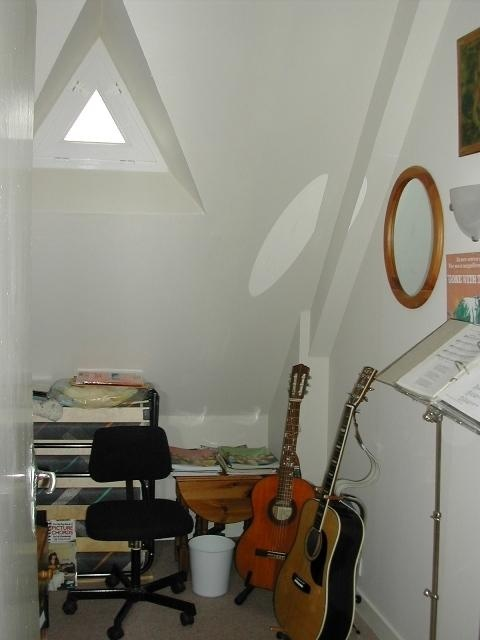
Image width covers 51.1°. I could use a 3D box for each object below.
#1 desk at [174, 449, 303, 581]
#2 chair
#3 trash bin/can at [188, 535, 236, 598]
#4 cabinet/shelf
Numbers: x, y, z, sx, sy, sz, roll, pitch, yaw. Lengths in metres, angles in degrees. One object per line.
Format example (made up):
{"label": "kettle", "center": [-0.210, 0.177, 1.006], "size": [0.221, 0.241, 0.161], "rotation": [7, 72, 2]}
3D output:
{"label": "desk", "center": [-0.016, 0.974, 2.506], "size": [0.649, 0.714, 0.269], "rotation": [1, -6, -13]}
{"label": "chair", "center": [-0.495, 0.937, 2.529], "size": [0.656, 1.088, 0.702], "rotation": [2, -4, -17]}
{"label": "trash bin/can", "center": [-0.156, 1.243, 2.562], "size": [0.227, 0.235, 0.241], "rotation": [1, -3, -2]}
{"label": "cabinet/shelf", "center": [-0.892, 0.918, 2.800], "size": [0.796, 1.013, 0.631], "rotation": [1, 28, 3]}
